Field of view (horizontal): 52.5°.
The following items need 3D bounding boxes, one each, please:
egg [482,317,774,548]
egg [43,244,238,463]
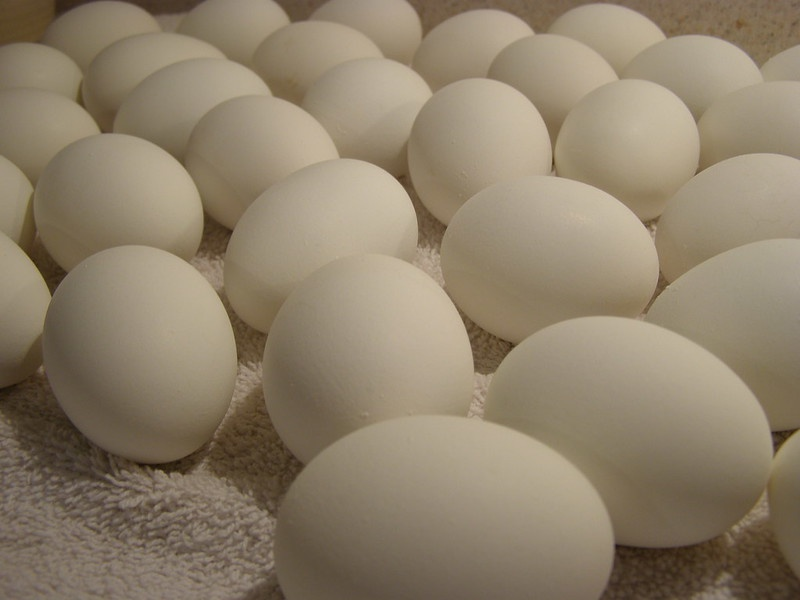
[{"bbox_3d":[0.278,0.185,1.080,0.233,0.390,0.269,-3,78,5],"label":"egg"},{"bbox_3d":[-0.336,0.065,1.051,0.236,0.117,0.253,-6,66,-4],"label":"egg"}]
